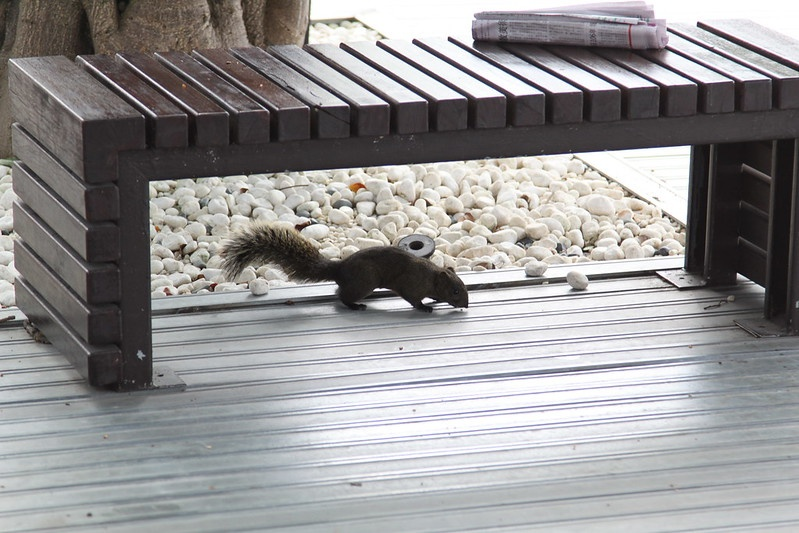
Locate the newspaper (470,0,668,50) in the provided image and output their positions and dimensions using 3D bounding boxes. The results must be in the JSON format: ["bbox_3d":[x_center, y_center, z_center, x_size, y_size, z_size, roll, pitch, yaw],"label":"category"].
[{"bbox_3d":[0.595,-0.792,4.310,0.759,0.156,0.206,3,24,12],"label":"newspaper"}]
